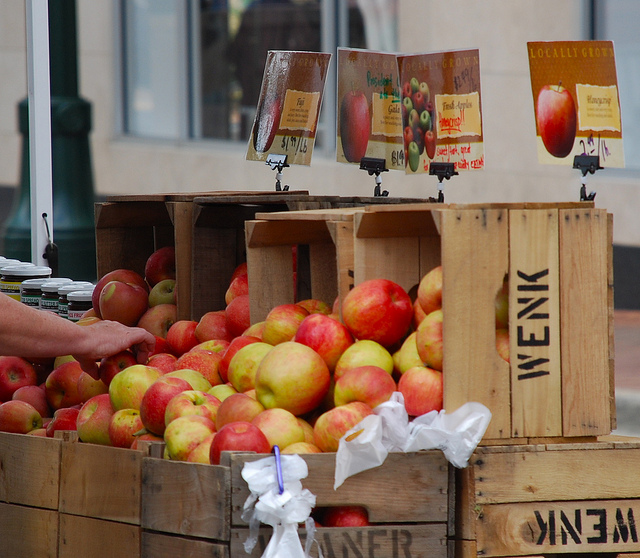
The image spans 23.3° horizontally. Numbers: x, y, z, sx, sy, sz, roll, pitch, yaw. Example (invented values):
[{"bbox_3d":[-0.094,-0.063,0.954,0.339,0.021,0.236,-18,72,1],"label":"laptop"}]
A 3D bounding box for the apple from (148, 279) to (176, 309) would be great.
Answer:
[{"bbox_3d":[-0.733,0.056,7.284,0.099,0.138,0.140,10,-13,-4],"label":"apple"}]

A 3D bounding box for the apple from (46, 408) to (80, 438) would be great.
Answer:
[{"bbox_3d":[-1.079,0.601,6.534,0.102,0.129,0.106,29,-20,-28],"label":"apple"}]

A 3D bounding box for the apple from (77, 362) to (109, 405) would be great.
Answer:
[{"bbox_3d":[-0.946,0.452,6.635,0.137,0.209,0.146,-1,2,-29],"label":"apple"}]

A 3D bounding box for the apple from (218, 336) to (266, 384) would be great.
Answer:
[{"bbox_3d":[-0.326,0.307,6.458,0.156,0.205,0.179,10,13,-14],"label":"apple"}]

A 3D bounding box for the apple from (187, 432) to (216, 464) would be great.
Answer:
[{"bbox_3d":[-0.452,0.659,6.025,0.092,0.115,0.092,5,-21,-44],"label":"apple"}]

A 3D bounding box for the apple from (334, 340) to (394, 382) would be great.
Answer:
[{"bbox_3d":[0.176,0.301,6.127,0.170,0.188,0.148,-10,-3,-42],"label":"apple"}]

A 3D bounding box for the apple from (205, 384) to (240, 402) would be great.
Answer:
[{"bbox_3d":[-0.396,0.439,6.322,0.086,0.090,0.073,-19,10,-37],"label":"apple"}]

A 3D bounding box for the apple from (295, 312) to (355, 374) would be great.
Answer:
[{"bbox_3d":[0.043,0.211,6.285,0.189,0.247,0.228,8,30,21],"label":"apple"}]

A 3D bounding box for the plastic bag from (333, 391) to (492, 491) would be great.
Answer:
[{"bbox_3d":[0.339,0.591,5.850,0.441,0.188,0.355,-13,32,3],"label":"plastic bag"}]

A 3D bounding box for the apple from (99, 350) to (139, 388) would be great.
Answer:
[{"bbox_3d":[-0.855,0.359,6.572,0.122,0.163,0.141,4,3,-23],"label":"apple"}]

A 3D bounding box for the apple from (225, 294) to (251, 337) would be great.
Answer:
[{"bbox_3d":[-0.345,0.165,6.841,0.125,0.203,0.144,4,-9,4],"label":"apple"}]

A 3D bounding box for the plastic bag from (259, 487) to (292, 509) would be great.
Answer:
[{"bbox_3d":[-0.164,0.810,5.758,0.116,0.075,0.022,2,-3,-8],"label":"plastic bag"}]

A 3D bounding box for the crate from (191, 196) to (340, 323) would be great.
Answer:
[{"bbox_3d":[-0.246,-0.157,7.214,0.580,0.739,0.522,2,5,27],"label":"crate"}]

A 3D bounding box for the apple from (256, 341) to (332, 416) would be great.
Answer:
[{"bbox_3d":[-0.087,0.336,6.198,0.224,0.340,0.276,-11,41,-16],"label":"apple"}]

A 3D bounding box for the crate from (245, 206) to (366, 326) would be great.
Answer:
[{"bbox_3d":[-0.030,-0.094,6.637,0.442,0.542,0.453,-8,9,-38],"label":"crate"}]

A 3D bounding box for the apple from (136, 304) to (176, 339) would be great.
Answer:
[{"bbox_3d":[-0.743,0.180,7.115,0.135,0.171,0.141,10,-4,21],"label":"apple"}]

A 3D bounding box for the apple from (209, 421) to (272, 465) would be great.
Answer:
[{"bbox_3d":[-0.303,0.602,5.892,0.150,0.194,0.165,-7,11,-23],"label":"apple"}]

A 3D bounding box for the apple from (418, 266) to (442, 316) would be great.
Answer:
[{"bbox_3d":[0.436,0.045,6.164,0.102,0.136,0.101,23,-7,47],"label":"apple"}]

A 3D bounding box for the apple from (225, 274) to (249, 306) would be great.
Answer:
[{"bbox_3d":[-0.375,0.043,6.985,0.101,0.165,0.105,3,-2,-36],"label":"apple"}]

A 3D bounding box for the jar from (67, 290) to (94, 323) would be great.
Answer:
[{"bbox_3d":[-1.118,0.118,7.264,0.108,0.146,0.119,1,2,0],"label":"jar"}]

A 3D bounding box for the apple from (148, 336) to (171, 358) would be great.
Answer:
[{"bbox_3d":[-0.698,0.290,6.798,0.092,0.099,0.334,2,-4,-5],"label":"apple"}]

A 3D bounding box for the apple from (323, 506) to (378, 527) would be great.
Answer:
[{"bbox_3d":[0.101,0.899,5.886,0.115,0.090,0.108,2,-11,-14],"label":"apple"}]

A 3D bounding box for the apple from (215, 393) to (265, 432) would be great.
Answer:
[{"bbox_3d":[-0.319,0.508,6.088,0.131,0.172,0.148,23,10,-9],"label":"apple"}]

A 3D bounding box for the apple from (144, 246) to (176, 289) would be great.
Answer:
[{"bbox_3d":[-0.739,-0.036,7.487,0.138,0.214,0.156,17,0,6],"label":"apple"}]

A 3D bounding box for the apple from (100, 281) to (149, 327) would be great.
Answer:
[{"bbox_3d":[-0.900,0.089,7.119,0.155,0.216,0.183,10,8,-4],"label":"apple"}]

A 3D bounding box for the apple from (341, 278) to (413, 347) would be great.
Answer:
[{"bbox_3d":[0.225,0.131,6.176,0.209,0.297,0.256,-5,-11,6],"label":"apple"}]

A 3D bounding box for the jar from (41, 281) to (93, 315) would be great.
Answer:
[{"bbox_3d":[-1.240,0.063,7.448,0.137,0.187,0.162,0,1,-1],"label":"jar"}]

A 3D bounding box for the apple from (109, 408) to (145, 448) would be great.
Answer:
[{"bbox_3d":[-0.777,0.590,6.238,0.111,0.161,0.138,1,20,-6],"label":"apple"}]

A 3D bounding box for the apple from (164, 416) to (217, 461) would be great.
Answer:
[{"bbox_3d":[-0.497,0.608,6.036,0.150,0.193,0.159,0,-18,-24],"label":"apple"}]

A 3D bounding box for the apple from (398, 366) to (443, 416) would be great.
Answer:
[{"bbox_3d":[0.381,0.450,6.044,0.140,0.201,0.160,12,-7,-9],"label":"apple"}]

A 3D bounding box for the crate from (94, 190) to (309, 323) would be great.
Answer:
[{"bbox_3d":[-0.752,-0.084,7.485,0.491,0.589,0.538,-3,-5,25],"label":"crate"}]
